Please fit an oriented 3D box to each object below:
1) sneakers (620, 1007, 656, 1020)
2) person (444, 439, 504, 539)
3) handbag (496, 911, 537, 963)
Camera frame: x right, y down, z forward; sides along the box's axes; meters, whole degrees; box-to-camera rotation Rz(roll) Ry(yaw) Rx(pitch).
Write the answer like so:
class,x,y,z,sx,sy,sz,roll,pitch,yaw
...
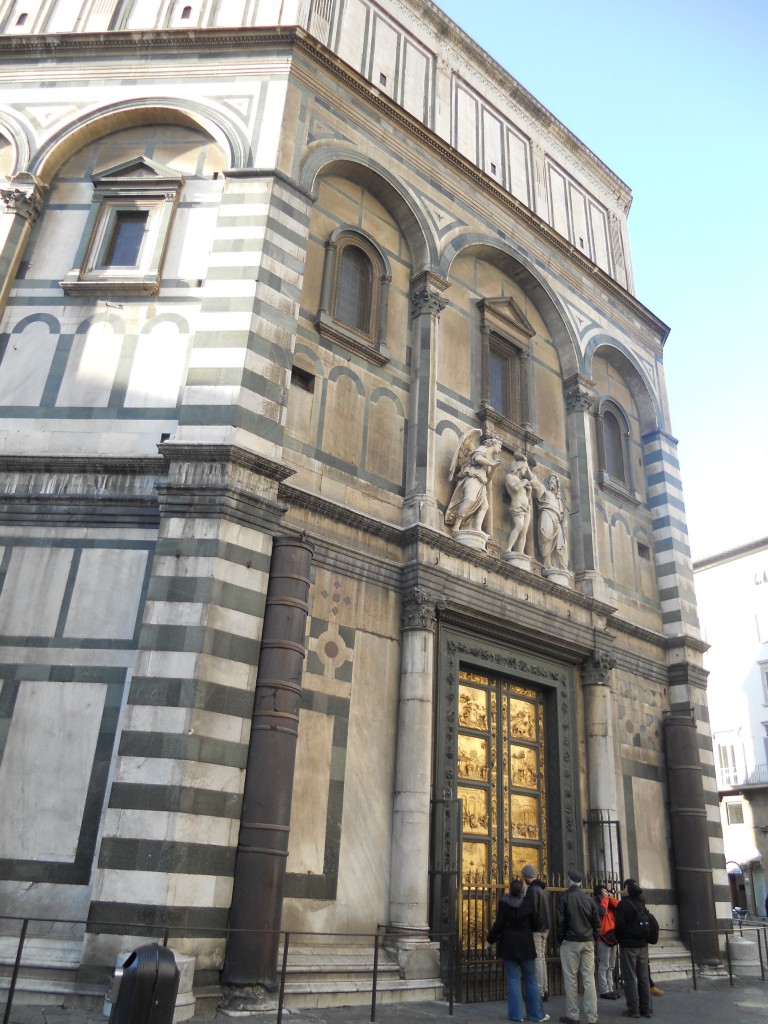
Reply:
class,x,y,z,sx,sy,sz,roll,pitch,yaw
sneakers,2.608,5.164,7.362,0.332,0.153,0.129,-2,-31,0
person,1.432,-0.532,11.811,0.449,2.256,1.122,-17,-32,37
handbag,1.201,3.935,6.684,0.370,0.468,0.304,-2,-26,10
